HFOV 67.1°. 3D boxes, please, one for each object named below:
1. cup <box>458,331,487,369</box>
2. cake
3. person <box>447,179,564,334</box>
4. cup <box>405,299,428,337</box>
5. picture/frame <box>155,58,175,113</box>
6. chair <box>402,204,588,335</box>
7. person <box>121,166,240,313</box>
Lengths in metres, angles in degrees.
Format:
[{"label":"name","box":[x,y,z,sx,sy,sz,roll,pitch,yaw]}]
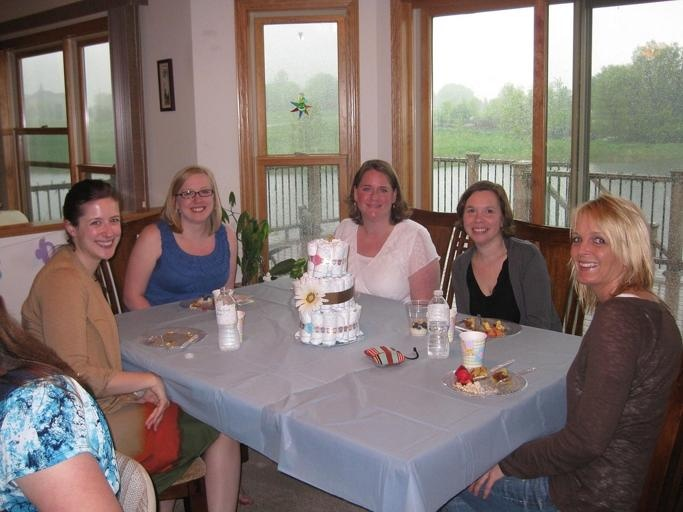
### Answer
[{"label":"cup","box":[0.457,0.344,1.840,0.101,0.119,0.103,-2,2,0]},{"label":"cake","box":[-0.031,0.127,2.116,0.333,0.433,0.349,1,10,12]},{"label":"person","box":[0.764,0.065,2.670,0.582,0.854,0.601,-7,3,-1]},{"label":"cup","box":[0.319,0.264,2.162,0.115,0.133,0.113,0,-1,0]},{"label":"picture/frame","box":[-1.752,-1.719,5.163,0.050,0.516,0.315,-12,15,-43]},{"label":"chair","box":[0.946,0.015,3.087,0.767,1.102,0.678,2,5,39]},{"label":"person","box":[-0.884,-0.055,2.996,0.671,0.896,0.475,-7,18,-41]}]
